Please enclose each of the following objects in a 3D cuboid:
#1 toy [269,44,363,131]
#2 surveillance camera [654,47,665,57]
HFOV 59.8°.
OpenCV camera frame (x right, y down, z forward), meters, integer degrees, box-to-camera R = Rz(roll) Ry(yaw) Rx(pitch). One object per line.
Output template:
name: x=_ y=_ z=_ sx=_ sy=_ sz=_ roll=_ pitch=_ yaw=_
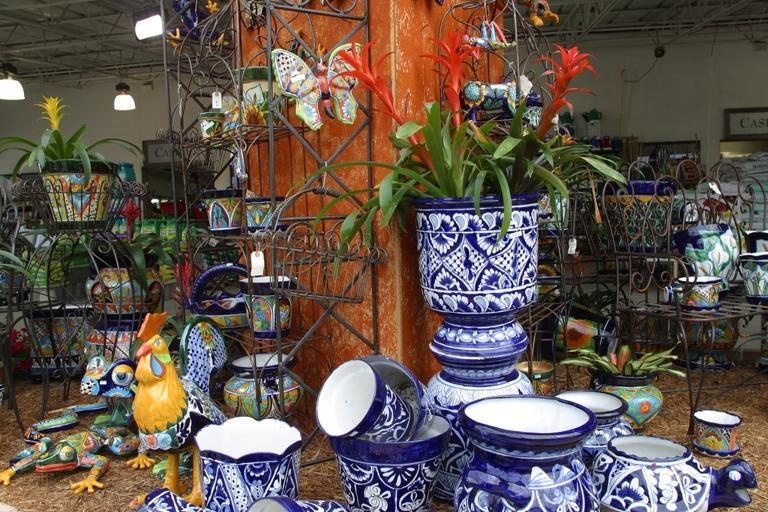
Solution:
toy: x=-0.290 y=-0.828 z=3.249 sx=0.446 sy=0.396 sz=0.089 roll=-14 pitch=0 yaw=-28
surveillance camera: x=3.886 y=-2.893 z=9.396 sx=0.102 sy=0.104 sz=0.131 roll=1 pitch=-8 yaw=-1
